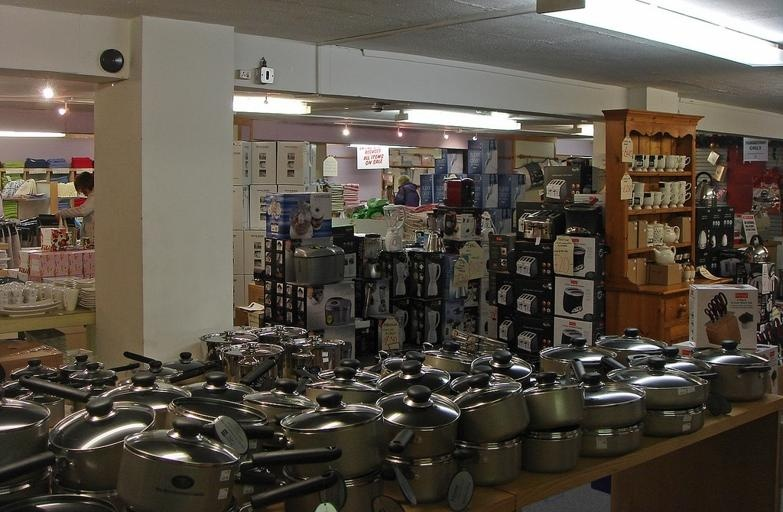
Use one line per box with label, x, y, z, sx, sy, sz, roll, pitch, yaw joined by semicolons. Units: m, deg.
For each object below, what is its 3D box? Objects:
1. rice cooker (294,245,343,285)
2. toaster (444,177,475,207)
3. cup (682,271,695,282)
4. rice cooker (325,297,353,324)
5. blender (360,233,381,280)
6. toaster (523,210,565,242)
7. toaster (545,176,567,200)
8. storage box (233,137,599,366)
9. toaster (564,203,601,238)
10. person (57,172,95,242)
rice cooker;-0.707;0.075;5.667;0.472;0.299;0.338;-5;6;-41
toaster;0.965;-0.882;8.149;0.442;0.367;0.408;2;6;9
cup;3.361;0.222;6.616;0.122;0.092;0.123;-1;-2;0
rice cooker;-0.512;0.512;5.709;0.219;0.235;0.300;10;15;40
blender;-0.266;0.000;7.224;0.264;0.522;0.284;2;6;-3
toaster;1.655;-0.336;6.404;0.319;0.194;0.428;7;15;33
toaster;2.025;-0.837;7.181;0.339;0.295;0.184;5;5;43
storage box;0.347;-0.073;6.740;2.130;2.250;4.034;0;1;42
toaster;2.069;-0.395;6.290;0.406;0.333;0.400;4;6;19
person;-3.894;-0.636;7.206;0.377;0.831;1.423;-1;6;-30
